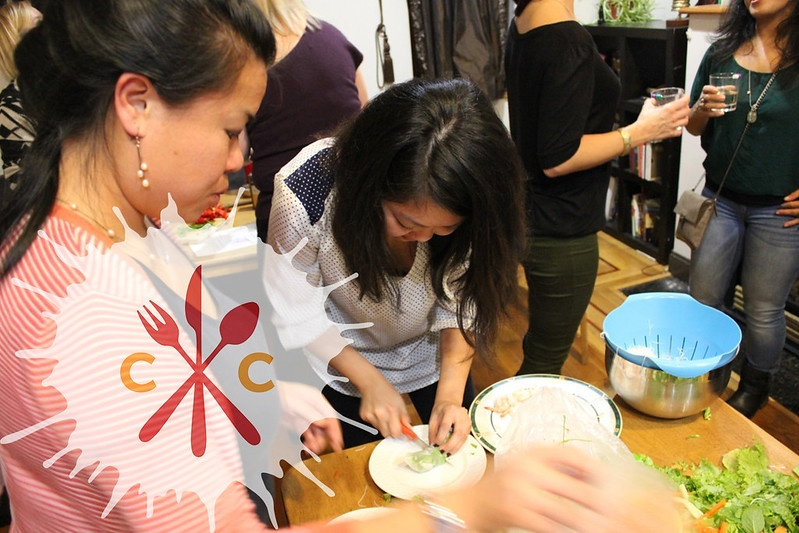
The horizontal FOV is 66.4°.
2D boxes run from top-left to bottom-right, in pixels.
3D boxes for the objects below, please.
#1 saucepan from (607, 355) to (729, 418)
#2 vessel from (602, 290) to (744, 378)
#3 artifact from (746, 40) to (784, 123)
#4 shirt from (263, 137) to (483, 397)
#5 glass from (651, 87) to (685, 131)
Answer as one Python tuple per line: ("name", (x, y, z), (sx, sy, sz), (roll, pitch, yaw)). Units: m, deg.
("saucepan", (0.706, 0.296, 1.605), (0.205, 0.129, 0.199), (-3, 18, -16))
("vessel", (0.759, 0.189, 1.744), (0.249, 0.106, 0.290), (-6, 33, -4))
("artifact", (1.412, -0.732, 2.403), (0.073, 0.285, 0.151), (-1, 26, 6))
("shirt", (-0.071, -0.007, 1.661), (0.520, 0.677, 0.351), (-19, 53, -14))
("glass", (1.097, -0.656, 2.499), (0.137, 0.098, 0.128), (9, 38, 44))
